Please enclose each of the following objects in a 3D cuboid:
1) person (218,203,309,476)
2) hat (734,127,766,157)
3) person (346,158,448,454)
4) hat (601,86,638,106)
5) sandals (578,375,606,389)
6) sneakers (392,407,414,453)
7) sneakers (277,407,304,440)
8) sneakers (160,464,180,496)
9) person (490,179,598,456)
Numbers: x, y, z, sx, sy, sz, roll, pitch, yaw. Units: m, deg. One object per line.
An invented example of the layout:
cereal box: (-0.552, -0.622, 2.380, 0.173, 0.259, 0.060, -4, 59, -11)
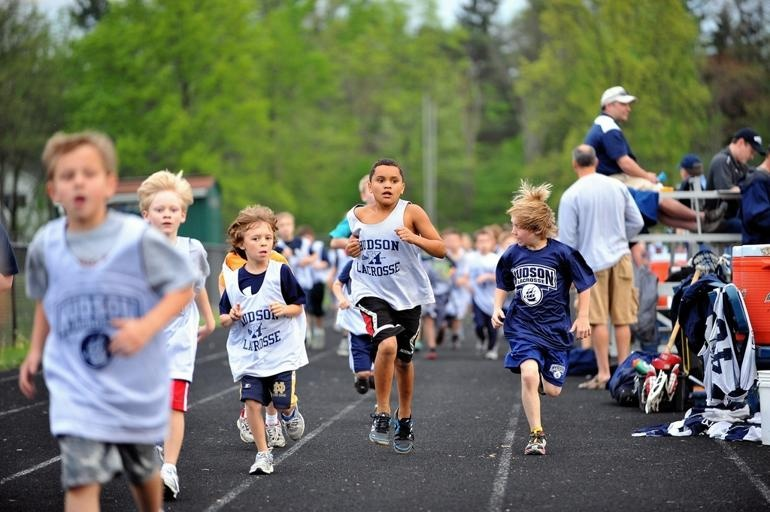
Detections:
person: (-1.191, 0.797, 9.849, 0.824, 2.540, 0.702, -1, 4, -8)
hat: (4.820, -1.519, 13.292, 0.433, 0.232, 0.286, 31, 12, 3)
person: (0.073, 0.519, 10.335, 0.915, 3.018, 0.698, -1, 4, -3)
hat: (3.168, -2.189, 13.849, 0.486, 0.264, 0.353, -2, 4, 15)
sandals: (2.769, 1.703, 13.574, 0.393, 0.169, 0.146, -1, -4, 17)
sneakers: (0.165, 1.801, 10.380, 0.158, 0.496, 0.213, -1, -11, -7)
sneakers: (-1.004, 1.680, 10.663, 0.172, 0.478, 0.185, -38, -44, 24)
sneakers: (-1.882, 2.015, 9.012, 0.111, 0.156, 0.339, -9, -41, 9)
person: (1.569, 0.628, 10.370, 0.982, 2.708, 0.845, -1, 4, 3)
